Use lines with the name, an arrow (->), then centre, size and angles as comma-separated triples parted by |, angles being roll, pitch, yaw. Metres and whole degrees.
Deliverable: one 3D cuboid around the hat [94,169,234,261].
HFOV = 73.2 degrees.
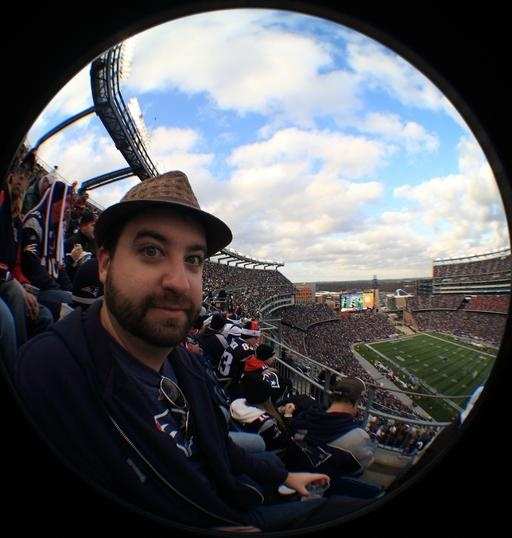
hat -> -0.382, -0.279, 1.492 | 0.515, 0.255, 0.506 | 12, -29, -21
